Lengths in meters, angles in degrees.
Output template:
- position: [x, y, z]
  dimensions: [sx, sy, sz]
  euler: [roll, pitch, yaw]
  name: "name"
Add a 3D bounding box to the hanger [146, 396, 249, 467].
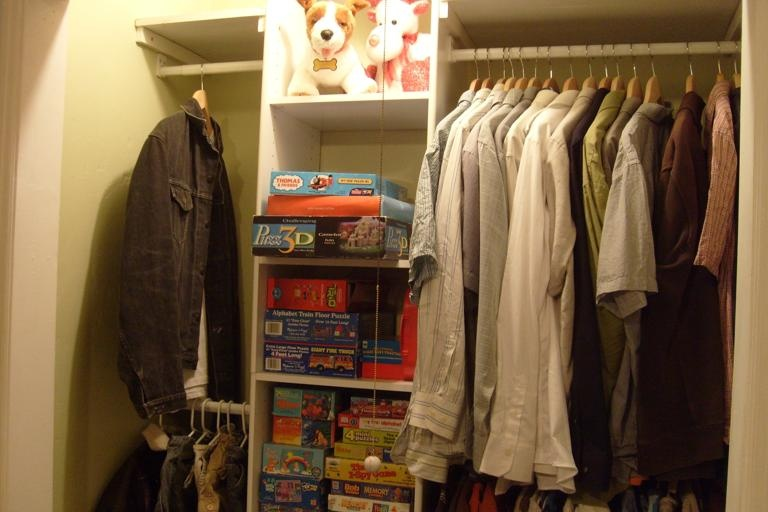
- position: [-0.686, 0.620, 2.505]
  dimensions: [0.315, 0.118, 0.242]
  euler: [-2, 2, -9]
  name: "hanger"
